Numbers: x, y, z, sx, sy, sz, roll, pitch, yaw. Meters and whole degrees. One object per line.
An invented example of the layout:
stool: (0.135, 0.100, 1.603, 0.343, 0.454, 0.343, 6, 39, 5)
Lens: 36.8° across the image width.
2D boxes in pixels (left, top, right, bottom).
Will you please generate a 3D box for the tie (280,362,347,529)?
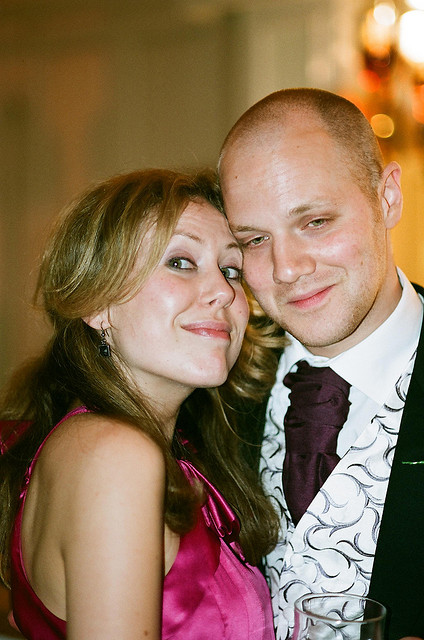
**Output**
tie: (0.256, 0.321, 1.621, 0.169, 0.395, 0.088, 3, -17, 17)

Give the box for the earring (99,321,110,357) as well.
earring: (-0.259, 0.058, 1.551, 0.022, 0.068, 0.026, -3, 4, -23)
